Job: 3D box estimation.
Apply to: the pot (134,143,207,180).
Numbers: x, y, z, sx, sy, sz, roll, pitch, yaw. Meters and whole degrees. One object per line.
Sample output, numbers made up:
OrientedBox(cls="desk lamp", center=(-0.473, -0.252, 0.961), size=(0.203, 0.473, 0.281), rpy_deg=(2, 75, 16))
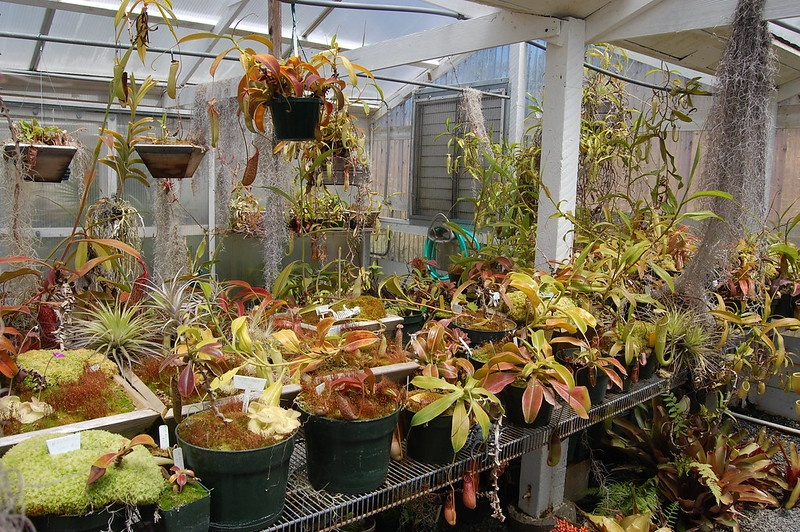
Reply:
OrientedBox(cls="pot", center=(-1.270, -0.585, 2.996), size=(0.217, 0.125, 0.270), rpy_deg=(2, 6, 12))

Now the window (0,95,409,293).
OrientedBox(cls="window", center=(-1.457, -0.485, 3.758), size=(1.798, 1.331, 0.071), rpy_deg=(-4, -14, 2))

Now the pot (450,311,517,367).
OrientedBox(cls="pot", center=(0.458, 0.390, 2.964), size=(0.361, 0.195, 0.632), rpy_deg=(5, 7, 6))

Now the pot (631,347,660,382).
OrientedBox(cls="pot", center=(1.437, 0.588, 3.153), size=(0.179, 0.152, 0.197), rpy_deg=(6, 12, 31))

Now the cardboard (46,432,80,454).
OrientedBox(cls="cardboard", center=(-1.213, 0.644, 1.952), size=(0.068, 0.079, 0.018), rpy_deg=(0, 3, -35))

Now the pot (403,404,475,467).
OrientedBox(cls="pot", center=(0.132, 0.804, 2.441), size=(0.233, 0.175, 0.211), rpy_deg=(3, -34, -5))

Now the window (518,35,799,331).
OrientedBox(cls="window", center=(1.705, -0.506, 3.499), size=(1.967, 1.575, 0.097), rpy_deg=(13, 6, 2))

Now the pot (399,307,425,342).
OrientedBox(cls="pot", center=(0.084, 0.353, 3.255), size=(0.158, 0.162, 0.161), rpy_deg=(0, 1, 0))

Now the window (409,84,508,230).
OrientedBox(cls="window", center=(0.682, -1.275, 6.292), size=(1.163, 1.589, 0.121), rpy_deg=(2, -2, 39))

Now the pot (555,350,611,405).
OrientedBox(cls="pot", center=(0.985, 0.594, 2.957), size=(0.265, 0.224, 0.290), rpy_deg=(0, 2, 0))

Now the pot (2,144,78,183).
OrientedBox(cls="pot", center=(-1.937, -0.563, 2.975), size=(0.249, 0.203, 0.269), rpy_deg=(4, 7, -1))

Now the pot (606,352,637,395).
OrientedBox(cls="pot", center=(1.268, 0.596, 3.083), size=(0.197, 0.216, 0.197), rpy_deg=(1, 6, 0))

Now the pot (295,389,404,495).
OrientedBox(cls="pot", center=(-0.219, 0.781, 2.366), size=(0.405, 0.311, 0.411), rpy_deg=(3, 0, 0))

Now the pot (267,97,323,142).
OrientedBox(cls="pot", center=(-0.529, -0.718, 2.757), size=(0.217, 0.150, 0.220), rpy_deg=(1, 6, 0))

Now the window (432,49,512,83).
OrientedBox(cls="window", center=(0.865, -2.157, 5.879), size=(0.090, 0.328, 0.783), rpy_deg=(-1, 9, -38))

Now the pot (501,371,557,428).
OrientedBox(cls="pot", center=(0.652, 0.682, 2.657), size=(0.302, 0.220, 0.160), rpy_deg=(1, 7, -24))

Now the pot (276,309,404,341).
OrientedBox(cls="pot", center=(-0.196, 0.316, 2.877), size=(0.359, 0.120, 0.294), rpy_deg=(-3, 5, -41))
